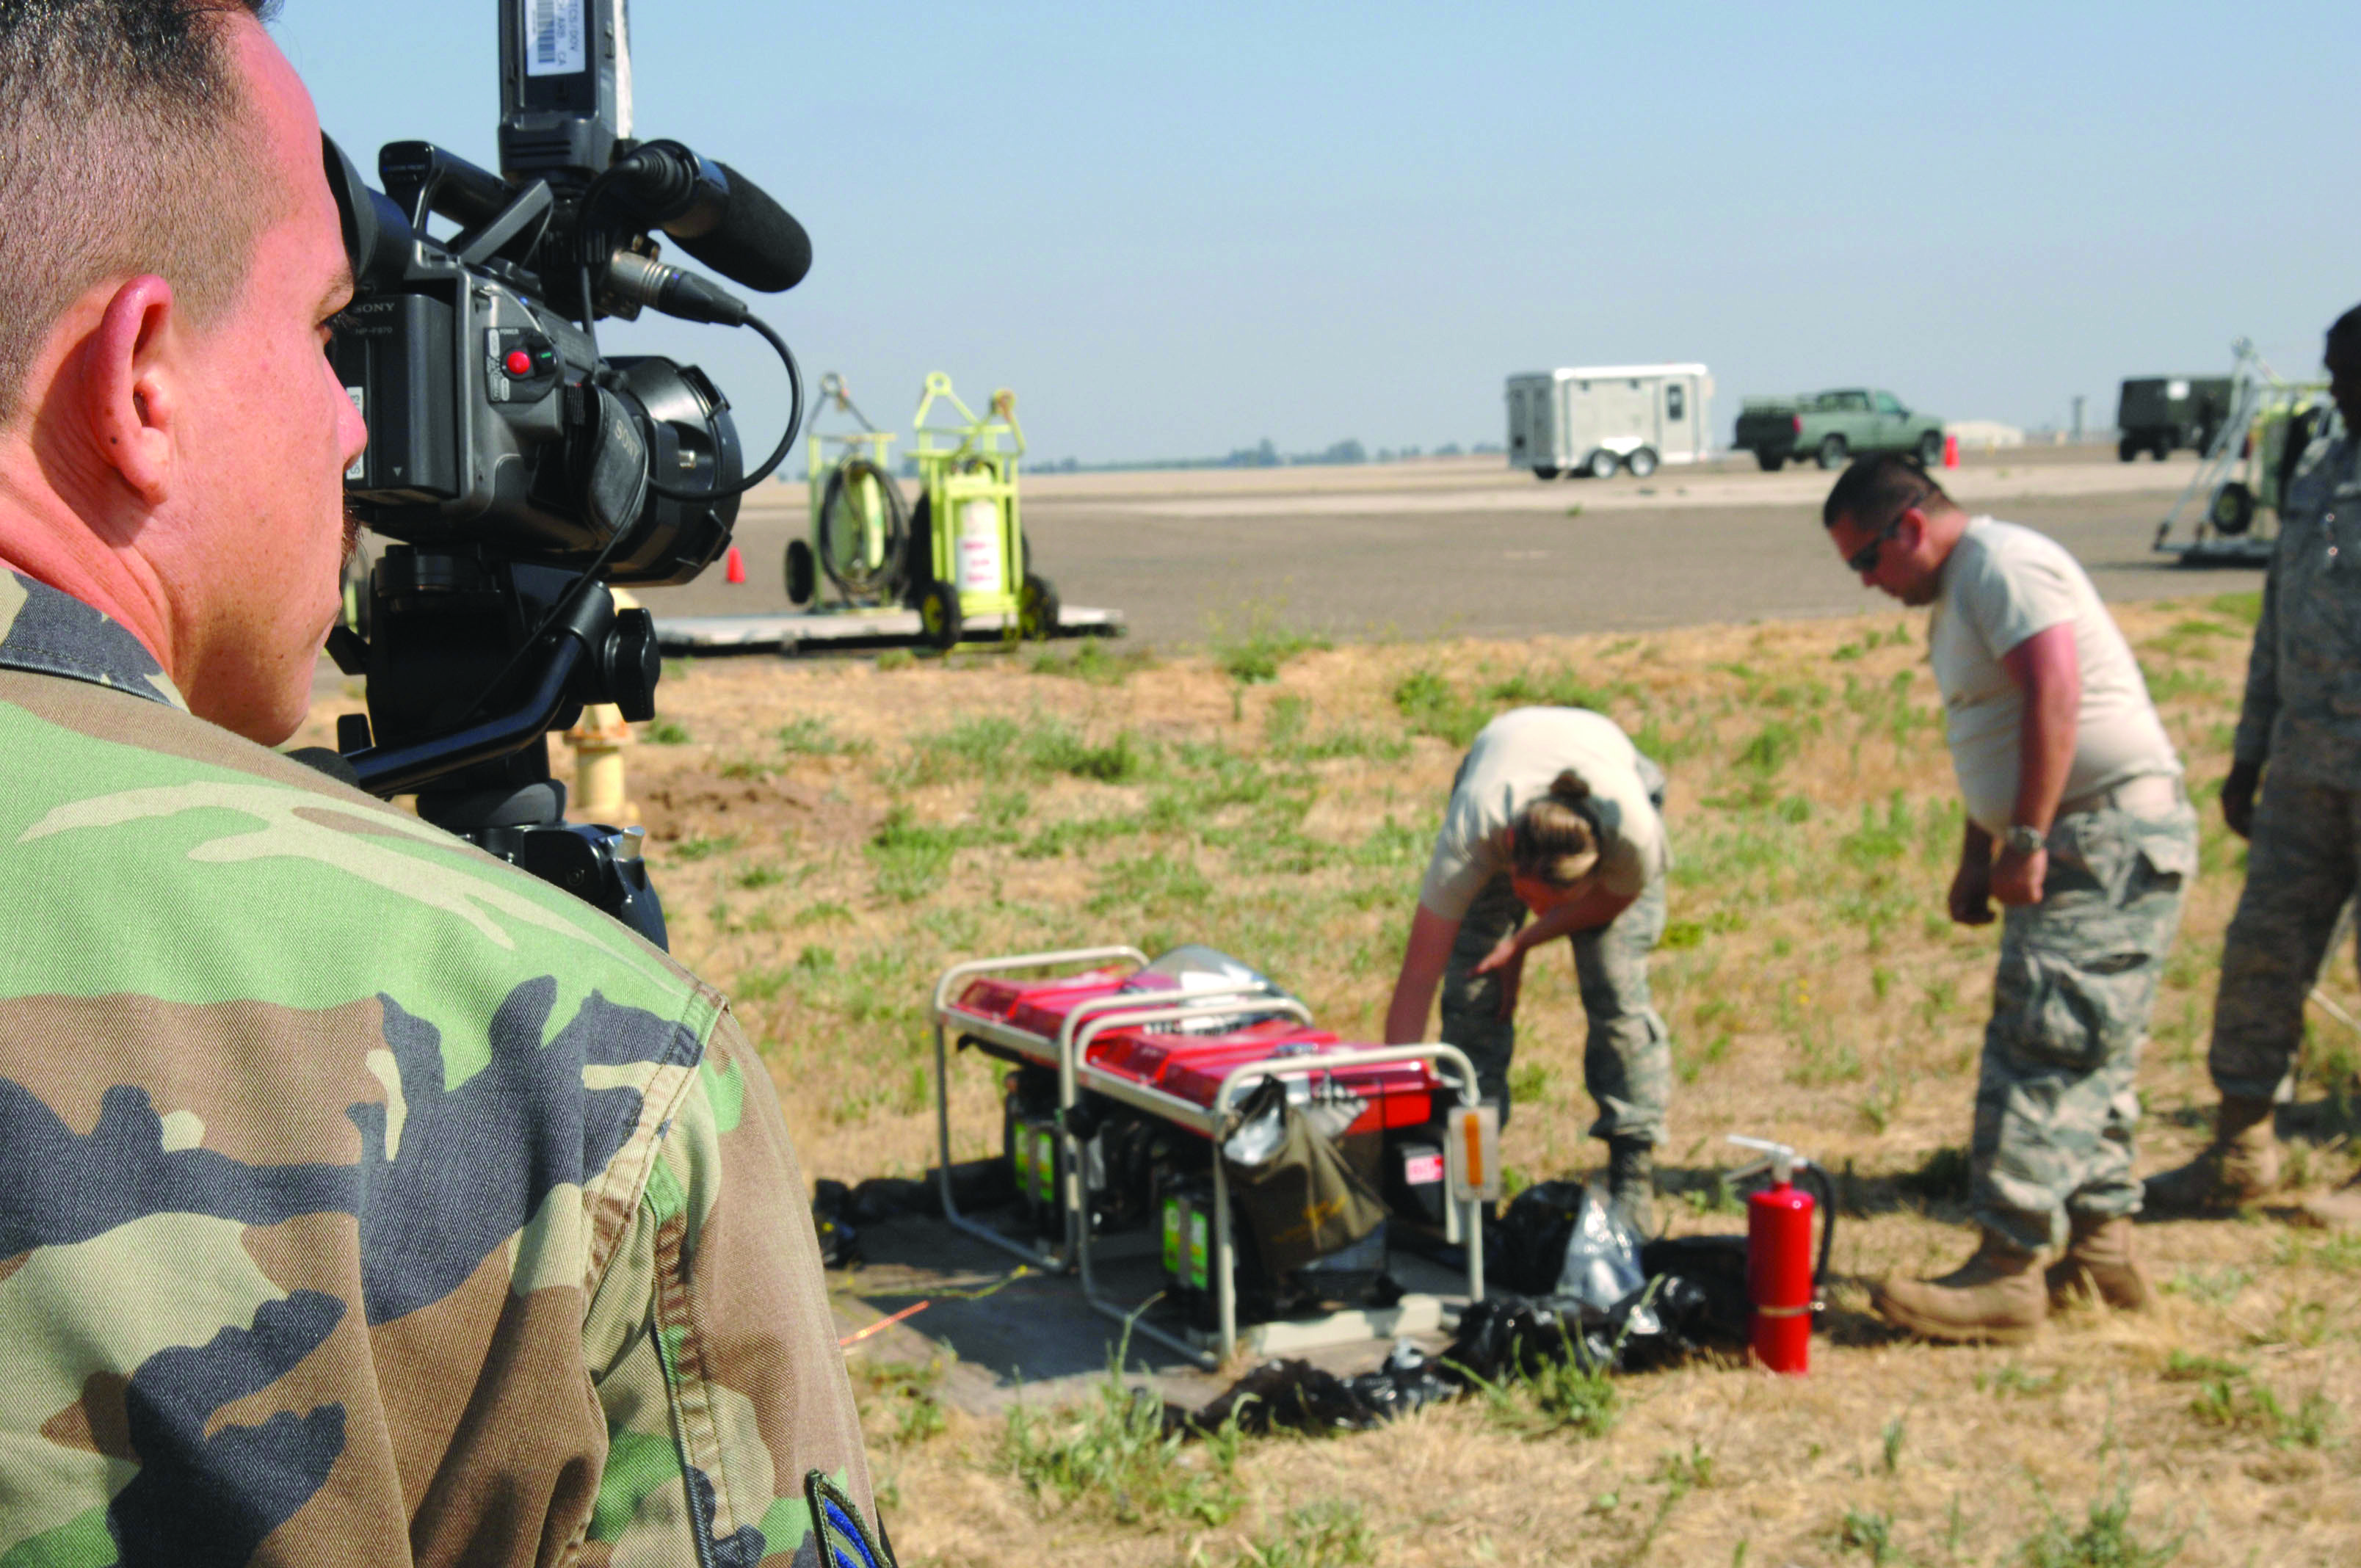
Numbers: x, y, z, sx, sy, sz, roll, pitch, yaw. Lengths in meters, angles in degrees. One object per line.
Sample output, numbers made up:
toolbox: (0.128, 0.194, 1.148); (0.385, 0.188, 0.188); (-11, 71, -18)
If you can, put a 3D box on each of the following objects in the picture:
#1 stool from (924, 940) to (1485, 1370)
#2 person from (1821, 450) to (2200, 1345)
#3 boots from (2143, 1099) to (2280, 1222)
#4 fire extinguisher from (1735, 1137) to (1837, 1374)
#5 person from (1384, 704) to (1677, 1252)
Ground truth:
stool: (0.087, 1.079, 8.914); (1.130, 0.927, 1.940); (-6, 10, -25)
person: (2.422, 0.316, 8.595); (0.990, 2.610, 0.987); (-1, 0, 14)
boots: (3.320, 1.189, 9.349); (0.495, 0.531, 0.256); (2, 1, 24)
fire extinguisher: (1.707, 1.331, 8.187); (0.279, 0.789, 0.302); (-1, -2, -33)
person: (1.088, 0.537, 8.948); (0.888, 1.663, 0.824); (0, 1, 17)
